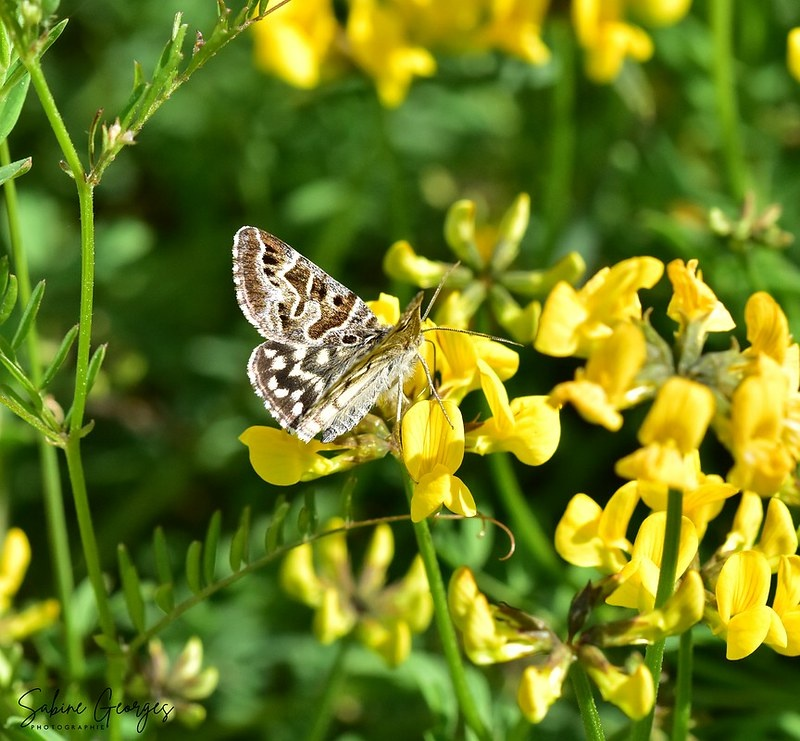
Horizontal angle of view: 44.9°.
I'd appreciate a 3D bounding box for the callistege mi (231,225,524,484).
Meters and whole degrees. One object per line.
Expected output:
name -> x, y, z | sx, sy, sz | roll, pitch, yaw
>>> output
callistege mi -> -0.045, -0.048, 1.778 | 0.410, 0.437, 0.316 | -43, 123, -25
